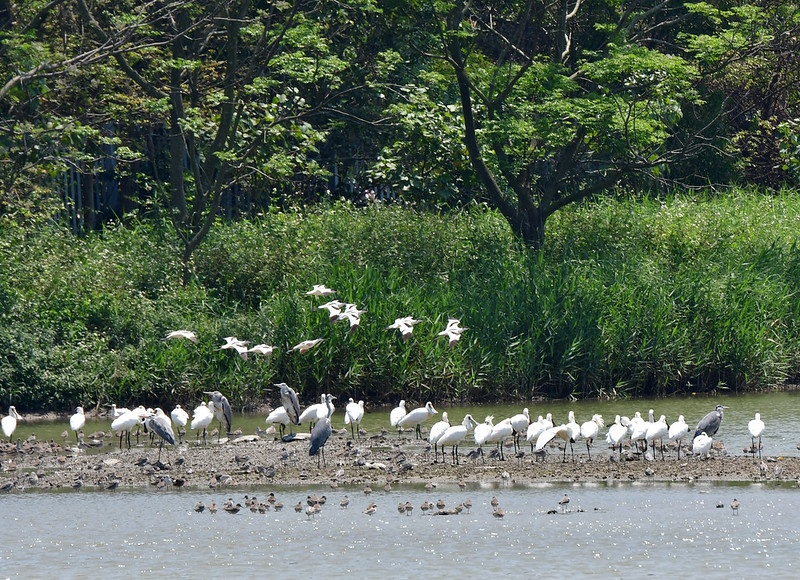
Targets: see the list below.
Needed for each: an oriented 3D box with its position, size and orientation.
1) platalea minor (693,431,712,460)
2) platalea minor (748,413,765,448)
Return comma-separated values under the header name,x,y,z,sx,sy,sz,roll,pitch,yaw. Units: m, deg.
name,x,y,z,sx,sy,sz,roll,pitch,yaw
platalea minor,6.310,3.267,43.064,0.237,0.557,0.729,0,-12,27
platalea minor,7.594,2.941,43.827,0.245,0.718,0.781,0,1,12
